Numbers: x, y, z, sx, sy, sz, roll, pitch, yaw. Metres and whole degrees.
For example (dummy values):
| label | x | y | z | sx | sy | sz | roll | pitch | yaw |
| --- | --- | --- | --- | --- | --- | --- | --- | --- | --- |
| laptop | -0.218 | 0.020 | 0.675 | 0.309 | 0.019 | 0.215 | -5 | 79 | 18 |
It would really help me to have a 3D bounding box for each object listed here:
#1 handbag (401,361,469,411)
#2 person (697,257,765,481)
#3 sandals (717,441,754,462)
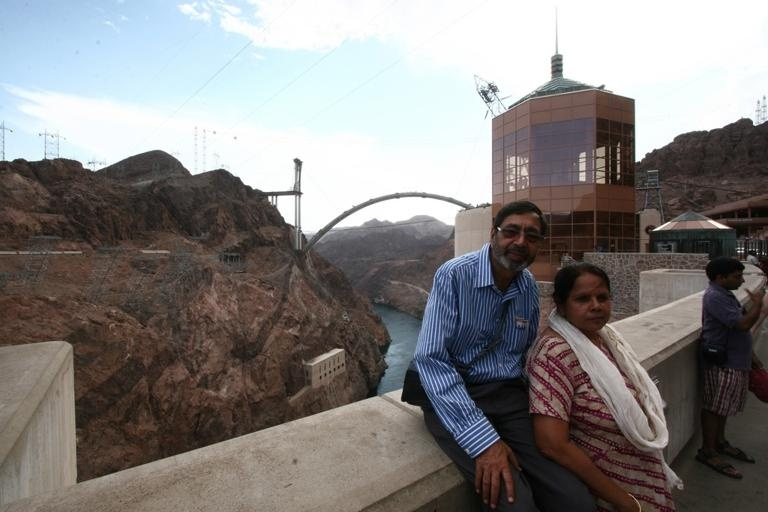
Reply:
| label | x | y | z | sx | sy | sz | roll | pitch | yaw |
| --- | --- | --- | --- | --- | --- | --- | --- | --- | --- |
| handbag | 0.506 | 1.407 | 4.668 | 0.508 | 0.602 | 0.646 | -4 | 8 | -12 |
| person | 4.714 | 1.444 | 6.278 | 1.017 | 3.002 | 0.628 | -3 | -3 | -22 |
| sandals | 4.801 | 2.669 | 6.188 | 0.199 | 0.110 | 0.425 | -3 | -4 | -8 |
